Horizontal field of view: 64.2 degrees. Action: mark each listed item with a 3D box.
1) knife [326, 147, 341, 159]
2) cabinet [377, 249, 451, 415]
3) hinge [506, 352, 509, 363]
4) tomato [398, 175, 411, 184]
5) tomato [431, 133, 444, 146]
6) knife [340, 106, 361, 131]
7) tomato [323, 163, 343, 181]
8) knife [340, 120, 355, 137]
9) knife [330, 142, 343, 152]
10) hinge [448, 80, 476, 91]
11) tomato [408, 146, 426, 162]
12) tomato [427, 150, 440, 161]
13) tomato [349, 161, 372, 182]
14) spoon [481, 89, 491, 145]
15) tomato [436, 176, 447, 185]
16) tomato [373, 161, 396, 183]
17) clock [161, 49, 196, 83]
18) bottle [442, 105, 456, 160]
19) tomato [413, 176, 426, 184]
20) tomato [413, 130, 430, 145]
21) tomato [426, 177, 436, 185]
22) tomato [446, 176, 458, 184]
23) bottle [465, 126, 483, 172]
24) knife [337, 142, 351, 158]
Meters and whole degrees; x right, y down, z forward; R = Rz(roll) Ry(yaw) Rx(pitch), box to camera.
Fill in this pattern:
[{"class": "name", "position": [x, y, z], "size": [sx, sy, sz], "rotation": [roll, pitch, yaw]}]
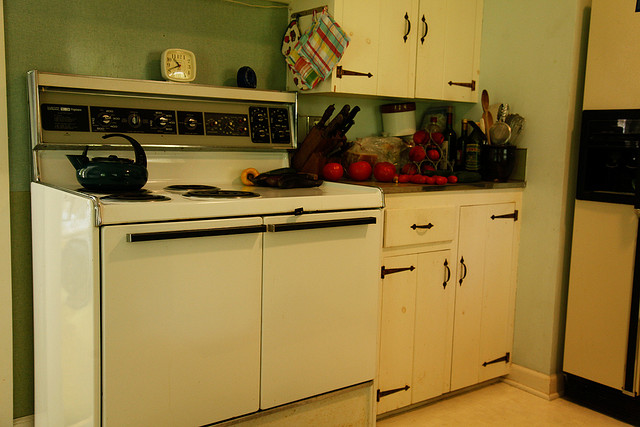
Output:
[{"class": "knife", "position": [0.083, -0.363, 2.971], "size": [0.111, 0.030, 0.029], "rotation": [-38, 25, -5]}, {"class": "cabinet", "position": [0.715, 0.784, 3.144], "size": [0.500, 0.952, 0.531], "rotation": [-14, -34, 35]}, {"class": "hinge", "position": [1.235, 0.953, 3.370], "size": [0.012, 0.048, 0.047], "rotation": [1, -3, 16]}, {"class": "tomato", "position": [0.504, -0.216, 3.077], "size": [0.055, 0.030, 0.055], "rotation": [-2, 16, 2]}, {"class": "tomato", "position": [0.780, -0.491, 3.357], "size": [0.096, 0.082, 0.070], "rotation": [-2, 11, -9]}, {"class": "knife", "position": [0.144, -0.528, 2.930], "size": [0.219, 0.041, 0.055], "rotation": [-42, -9, 39]}, {"class": "tomato", "position": [0.074, -0.243, 2.967], "size": [0.099, 0.092, 0.099], "rotation": [8, 12, 38]}, {"class": "knife", "position": [0.164, -0.499, 2.950], "size": [0.023, 0.080, 0.087], "rotation": [44, 2, 9]}, {"class": "knife", "position": [0.090, -0.388, 2.963], "size": [0.010, 0.087, 0.015], "rotation": [30, 26, -38]}, {"class": "hinge", "position": [0.929, -0.846, 3.366], "size": [0.168, 0.071, 0.038], "rotation": [0, 47, -12]}, {"class": "tomato", "position": [0.616, -0.381, 3.251], "size": [0.103, 0.099, 0.054], "rotation": [2, 11, 10]}, {"class": "tomato", "position": [0.731, -0.376, 3.287], "size": [0.068, 0.081, 0.069], "rotation": [0, 14, 19]}, {"class": "tomato", "position": [0.242, -0.255, 3.109], "size": [0.121, 0.122, 0.122], "rotation": [4, 12, 28]}, {"class": "spoon", "position": [1.081, -0.631, 3.331], "size": [0.055, 0.358, 0.054], "rotation": [2, 4, 27]}, {"class": "tomato", "position": [0.730, -0.199, 3.069], "size": [0.044, 0.028, 0.054], "rotation": [-5, 16, 16]}, {"class": "tomato", "position": [0.386, -0.255, 3.065], "size": [0.116, 0.119, 0.122], "rotation": [11, 11, 42]}, {"class": "clock", "position": [-0.760, -0.786, 2.728], "size": [0.184, 0.177, 0.070], "rotation": [-7, 19, -42]}, {"class": "bottle", "position": [0.874, -0.552, 3.461], "size": [0.089, 0.353, 0.195], "rotation": [2, 11, 13]}, {"class": "tomato", "position": [0.596, -0.202, 3.050], "size": [0.048, 0.033, 0.047], "rotation": [-8, 13, -29]}, {"class": "tomato", "position": [0.666, -0.495, 3.301], "size": [0.128, 0.089, 0.060], "rotation": [-7, 13, -33]}, {"class": "tomato", "position": [0.661, -0.197, 3.051], "size": [0.044, 0.041, 0.045], "rotation": [7, 16, 17]}, {"class": "tomato", "position": [0.812, -0.209, 3.122], "size": [0.064, 0.043, 0.055], "rotation": [1, 11, 5]}, {"class": "bottle", "position": [1.012, -0.423, 3.355], "size": [0.111, 0.287, 0.130], "rotation": [3, 12, 16]}, {"class": "knife", "position": [0.154, -0.393, 3.021], "size": [0.025, 0.090, 0.094], "rotation": [39, -9, 2]}]
